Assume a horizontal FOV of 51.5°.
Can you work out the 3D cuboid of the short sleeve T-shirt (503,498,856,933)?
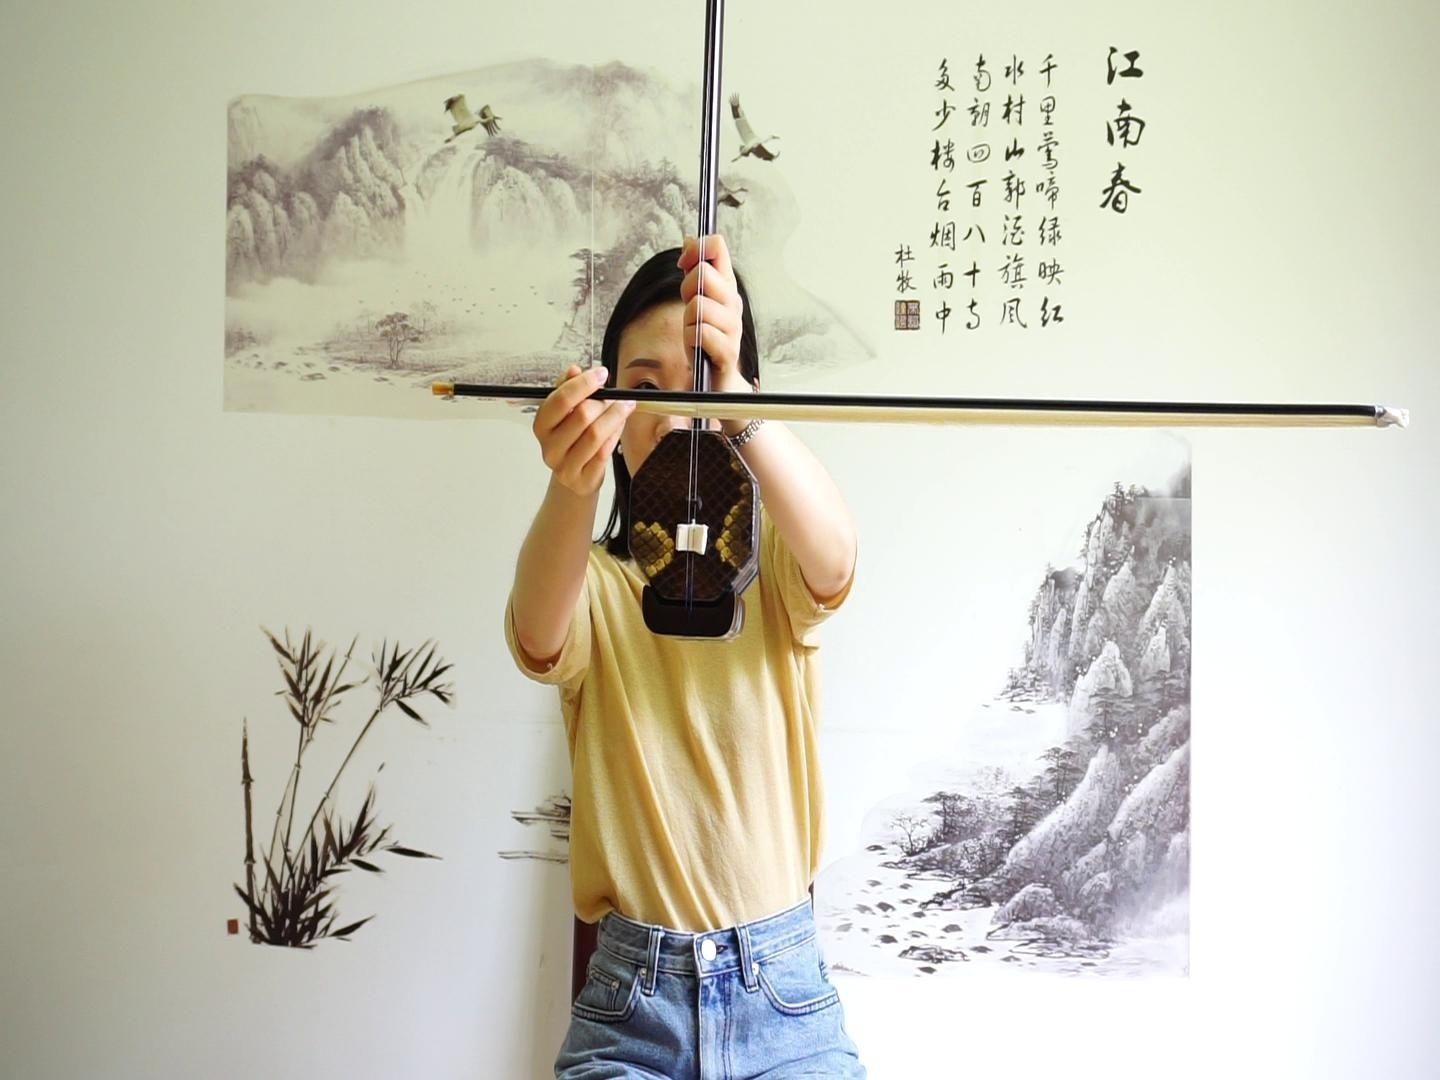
[{"bbox_3d":[-0.053,0.422,2.725,0.667,1.080,0.573,-2,-21,5],"label":"short sleeve T-shirt"}]

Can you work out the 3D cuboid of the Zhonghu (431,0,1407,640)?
[{"bbox_3d":[0.322,-0.486,2.973,1.116,1.291,0.103,2,7,4],"label":"Zhonghu"}]

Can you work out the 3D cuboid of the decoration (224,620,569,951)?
[{"bbox_3d":[-0.647,0.525,3.118,0.537,0.795,0.245,8,-1,-5],"label":"decoration"}]
